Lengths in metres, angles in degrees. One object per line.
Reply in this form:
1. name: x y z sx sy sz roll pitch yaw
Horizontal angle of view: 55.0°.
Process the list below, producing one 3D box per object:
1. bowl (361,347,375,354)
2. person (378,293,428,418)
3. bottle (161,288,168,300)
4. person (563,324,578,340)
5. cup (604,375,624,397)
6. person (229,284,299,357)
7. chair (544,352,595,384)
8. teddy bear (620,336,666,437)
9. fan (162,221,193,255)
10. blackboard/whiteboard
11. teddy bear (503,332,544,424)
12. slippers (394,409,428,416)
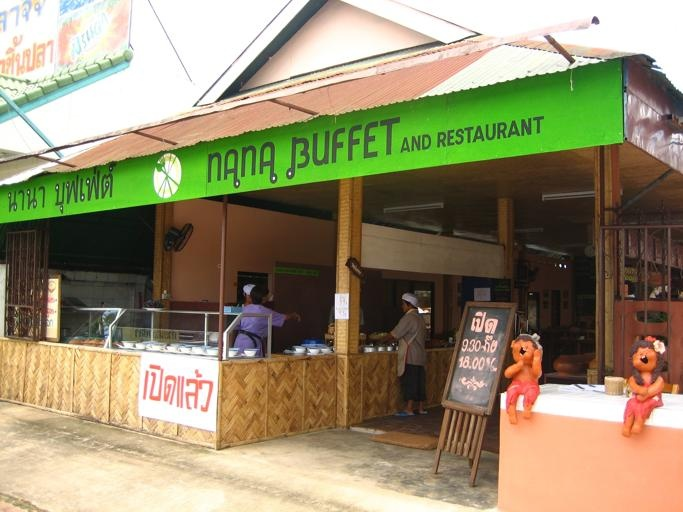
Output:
1. bowl: 0.405 1.370 9.676 0.123 0.087 0.280 1 2 32
2. person: 1.011 1.489 9.985 0.634 1.797 0.490 0 1 -14
3. bottle: -3.203 0.689 11.960 0.057 0.220 0.164 1 1 28
4. person: 6.059 2.029 17.361 0.397 0.225 0.815 1 1 21
5. cup: 2.488 1.166 5.966 0.151 0.138 0.154 -1 4 0
6. person: -1.135 0.852 8.832 0.635 0.874 1.144 0 1 0
7. chair: 3.688 1.826 10.574 0.720 0.475 0.757 -1 -3 30
8. teddy bear: 2.524 1.077 5.460 0.288 0.791 0.361 1 1 28
9. fan: -3.016 -0.363 12.275 0.418 0.588 0.805 22 -42 6
10. blackboard/whiteboard: 1.507 1.078 7.158 0.698 1.160 0.573 1 2 42
11. teddy bear: 1.696 1.122 6.090 0.321 0.747 0.588 0 1 16
12. slippers: 1.088 2.363 9.879 0.472 0.122 0.171 3 -5 -15
